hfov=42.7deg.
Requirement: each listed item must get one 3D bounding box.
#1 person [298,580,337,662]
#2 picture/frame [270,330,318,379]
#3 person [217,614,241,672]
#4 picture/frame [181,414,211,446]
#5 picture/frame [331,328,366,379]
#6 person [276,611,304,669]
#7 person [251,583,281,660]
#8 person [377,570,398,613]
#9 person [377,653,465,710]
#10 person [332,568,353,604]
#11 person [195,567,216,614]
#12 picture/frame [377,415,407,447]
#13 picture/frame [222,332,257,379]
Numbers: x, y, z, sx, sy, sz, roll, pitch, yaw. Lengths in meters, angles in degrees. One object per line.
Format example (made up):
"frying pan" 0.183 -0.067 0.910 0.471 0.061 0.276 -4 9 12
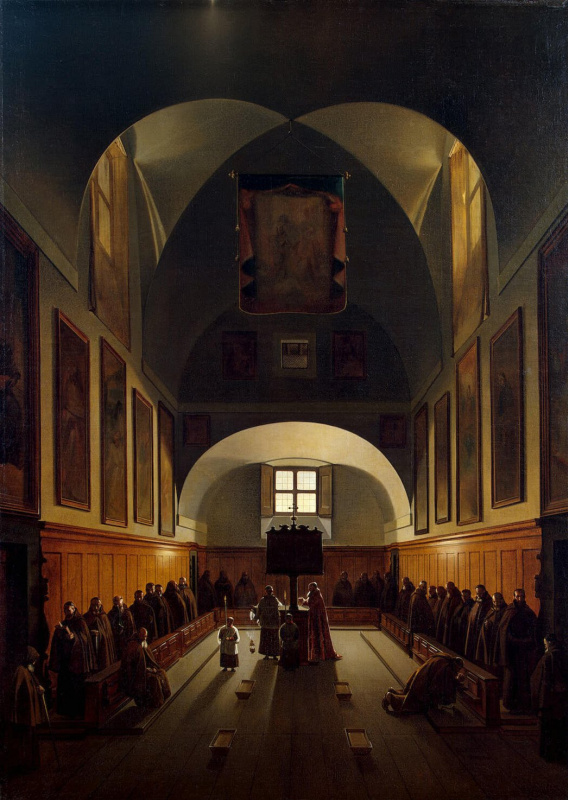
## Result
"person" 0.625 3.877 12.964 0.601 1.454 1.036 0 -2 5
"picture/frame" 0.206 -0.847 13.092 0.482 0.592 0.813 -1 -38 3
"person" -0.917 4.000 11.954 0.245 0.923 0.291 -3 -48 0
"picture/frame" -1.929 0.597 16.090 0.431 0.099 0.831 2 -55 5
"picture/frame" 1.193 -0.817 13.489 0.605 1.395 0.142 1 -43 4
"person" 0.114 4.005 12.352 0.364 0.994 1.132 0 -3 1
"person" -0.308 4.100 13.605 0.490 1.496 1.119 0 -2 -13
"person" 2.967 5.356 20.446 0.475 1.015 1.114 0 -3 3
"person" 1.573 3.195 8.231 0.852 0.674 0.360 -1 -2 14
"person" 1.837 5.870 22.935 0.498 1.506 0.329 2 -21 1
"person" -2.330 5.620 21.402 0.520 2.133 0.477 4 -14 -25
"picture/frame" 2.327 0.608 15.663 0.507 0.119 1.114 2 -45 9
"picture/frame" -0.755 -0.818 12.519 0.482 1.053 0.109 -2 -43 2
